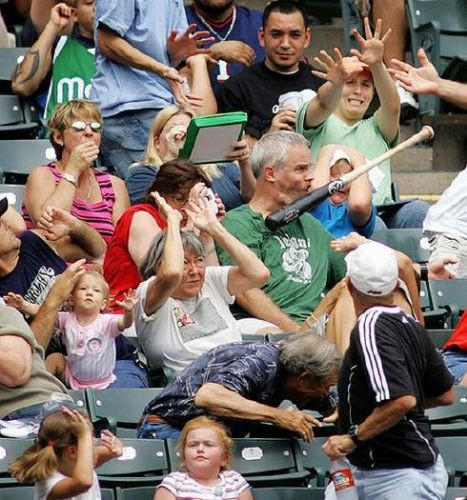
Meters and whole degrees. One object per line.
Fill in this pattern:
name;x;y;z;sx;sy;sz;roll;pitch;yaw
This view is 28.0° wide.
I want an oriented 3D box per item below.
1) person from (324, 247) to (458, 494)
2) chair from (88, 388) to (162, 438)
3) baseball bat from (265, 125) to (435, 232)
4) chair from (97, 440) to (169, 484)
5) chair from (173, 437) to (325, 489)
person;0.656;0.509;3.745;0.509;0.862;0.583;7;20;5
chair;-0.493;0.749;4.250;0.283;0.309;0.259;6;-15;-29
baseball bat;0.740;-0.460;6.161;1.756;0.163;0.181;-25;45;-18
chair;-0.402;0.896;3.972;0.243;0.266;0.220;3;-7;-7
chair;0.146;0.970;3.989;0.202;0.294;0.547;-3;-12;44
